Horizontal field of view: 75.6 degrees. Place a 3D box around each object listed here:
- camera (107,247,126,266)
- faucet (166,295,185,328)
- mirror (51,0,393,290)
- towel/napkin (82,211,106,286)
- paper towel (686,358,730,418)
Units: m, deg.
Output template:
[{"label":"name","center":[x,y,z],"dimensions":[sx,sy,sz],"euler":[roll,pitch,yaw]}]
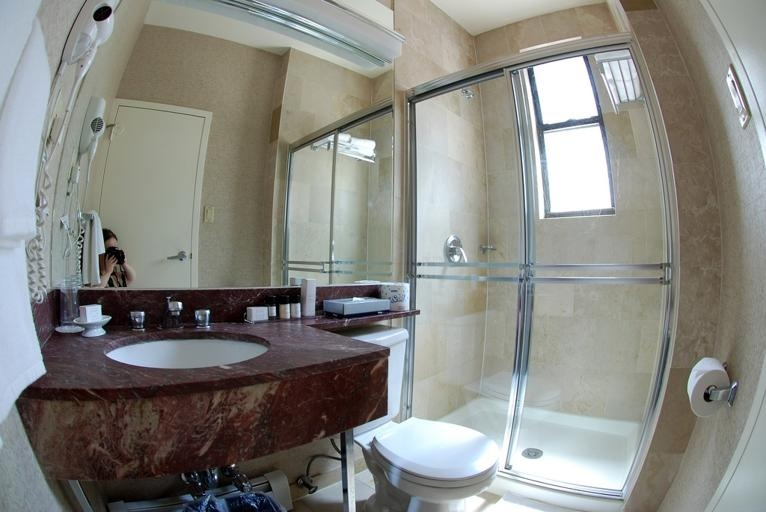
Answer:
[{"label":"camera","center":[-1.266,-0.003,2.325],"dimensions":[0.078,0.076,0.078],"euler":[14,11,29]},{"label":"faucet","center":[-1.000,0.256,2.332],"dimensions":[0.066,0.127,0.131],"euler":[-2,11,-22]},{"label":"mirror","center":[-0.860,-0.565,2.468],"dimensions":[1.772,1.708,0.113],"euler":[1,5,-39]},{"label":"towel/napkin","center":[-1.352,-0.040,2.274],"dimensions":[0.088,0.341,0.038],"euler":[-1,11,-17]},{"label":"paper towel","center":[1.540,0.618,2.365],"dimensions":[0.154,0.157,0.188],"euler":[-13,5,17]}]
